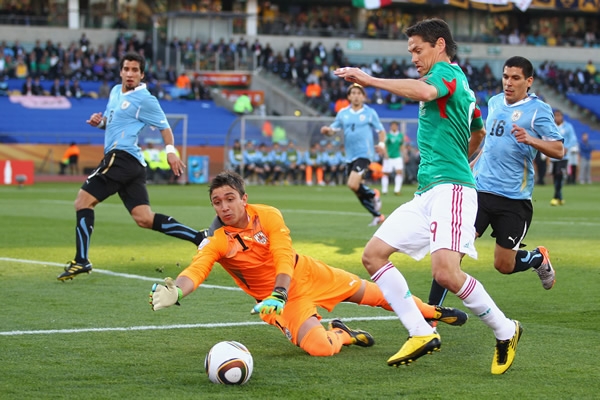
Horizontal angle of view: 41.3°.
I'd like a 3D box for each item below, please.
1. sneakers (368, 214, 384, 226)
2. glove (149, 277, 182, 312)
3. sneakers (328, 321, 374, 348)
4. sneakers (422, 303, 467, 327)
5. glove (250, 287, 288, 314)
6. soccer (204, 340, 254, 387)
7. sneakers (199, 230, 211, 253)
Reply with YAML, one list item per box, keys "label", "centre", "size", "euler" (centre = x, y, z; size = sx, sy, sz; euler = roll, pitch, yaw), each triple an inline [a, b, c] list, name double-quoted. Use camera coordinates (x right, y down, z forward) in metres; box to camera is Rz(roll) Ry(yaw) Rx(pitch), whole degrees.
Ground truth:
- label: "sneakers"
  centre: [1.483, 0.377, 15.326]
  size: [0.134, 0.191, 0.414]
  euler: [-35, -5, 30]
- label: "glove"
  centre: [-1.302, 0.903, 7.772]
  size: [0.317, 0.340, 0.282]
  euler: [-1, 7, -14]
- label: "sneakers"
  centre: [0.580, 1.437, 8.586]
  size: [0.544, 0.205, 0.249]
  euler: [15, -11, -9]
- label: "sneakers"
  centre: [1.628, 1.253, 8.786]
  size: [0.539, 0.260, 0.201]
  euler: [-1, 32, -12]
- label: "glove"
  centre: [-0.297, 1.012, 7.882]
  size: [0.511, 0.253, 0.172]
  euler: [-6, 9, -42]
- label: "soccer"
  centre: [-0.694, 1.605, 7.877]
  size: [0.456, 0.412, 0.406]
  euler: [18, 25, -15]
- label: "sneakers"
  centre: [-0.980, 0.415, 8.277]
  size: [0.113, 0.184, 0.167]
  euler: [4, 8, 32]
